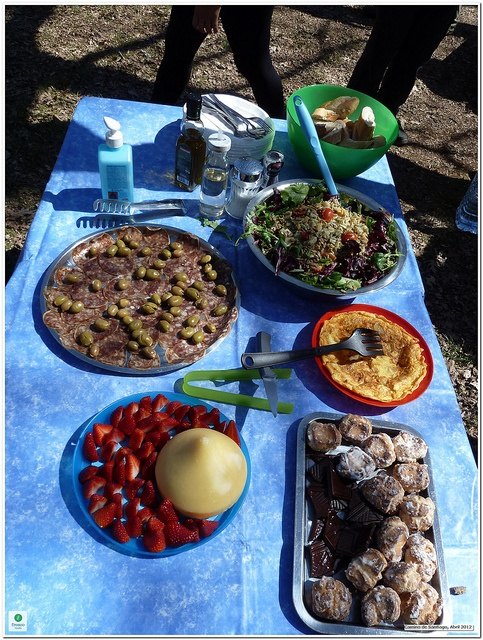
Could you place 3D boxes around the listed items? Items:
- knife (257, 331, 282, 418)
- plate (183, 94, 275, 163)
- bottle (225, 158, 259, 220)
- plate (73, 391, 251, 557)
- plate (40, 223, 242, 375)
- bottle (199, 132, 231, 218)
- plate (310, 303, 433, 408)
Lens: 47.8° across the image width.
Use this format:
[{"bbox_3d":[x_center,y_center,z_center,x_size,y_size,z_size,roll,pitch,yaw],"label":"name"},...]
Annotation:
[{"bbox_3d":[0.065,0.117,1.214,0.036,0.025,0.193,-2,56,-3],"label":"knife"},{"bbox_3d":[-0.045,-0.565,1.629,0.289,0.158,0.276,-13,35,-18],"label":"plate"},{"bbox_3d":[0.017,-0.365,1.554,0.115,0.151,0.111,0,38,0],"label":"bottle"},{"bbox_3d":[-0.153,0.280,1.045,0.323,0.070,0.324,-28,65,-28],"label":"plate"},{"bbox_3d":[-0.249,-0.055,1.299,0.420,0.048,0.376,16,47,2],"label":"plate"},{"bbox_3d":[-0.061,-0.406,1.557,0.088,0.219,0.095,2,37,-1],"label":"bottle"},{"bbox_3d":[0.301,0.094,1.286,0.248,0.122,0.243,-7,32,-13],"label":"plate"}]
